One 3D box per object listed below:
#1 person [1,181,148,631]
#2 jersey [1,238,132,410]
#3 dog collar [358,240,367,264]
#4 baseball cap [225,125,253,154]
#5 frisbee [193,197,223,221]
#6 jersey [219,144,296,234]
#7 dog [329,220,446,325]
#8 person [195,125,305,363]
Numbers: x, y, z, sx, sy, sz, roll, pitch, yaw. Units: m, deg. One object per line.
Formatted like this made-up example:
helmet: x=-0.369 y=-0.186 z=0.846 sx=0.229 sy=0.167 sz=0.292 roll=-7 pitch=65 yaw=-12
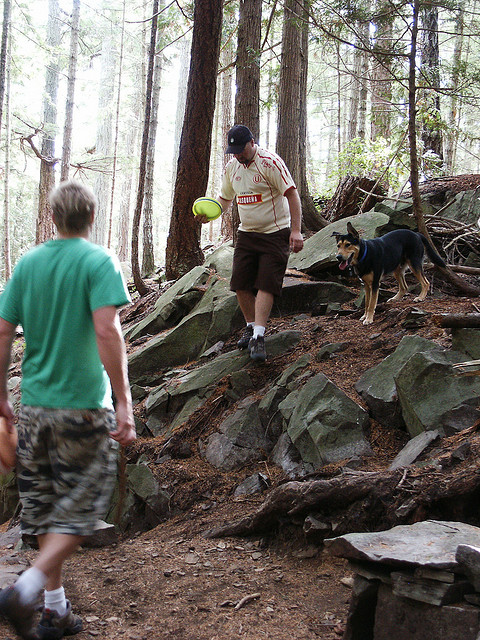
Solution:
person: x=-0.878 y=0.312 z=2.900 sx=0.576 sy=2.047 sz=0.554 roll=2 pitch=0 yaw=44
jersey: x=-0.835 y=0.019 z=2.936 sx=0.623 sy=0.807 sz=0.284 roll=2 pitch=0 yaw=-4
dog collar: x=1.065 y=-0.577 z=5.329 sx=0.071 sy=0.185 sz=0.047 roll=2 pitch=0 yaw=-27
baseball cap: x=-0.018 y=-1.462 z=5.034 sx=0.181 sy=0.253 sz=0.150 roll=8 pitch=-36 yaw=30
frisbee: x=-0.293 y=-1.002 z=5.652 sx=0.279 sy=0.217 sz=0.240 roll=2 pitch=0 yaw=8
jersey: x=0.171 y=-1.104 z=5.353 sx=0.843 sy=0.711 sz=0.428 roll=8 pitch=23 yaw=44
dog: x=1.320 y=-0.393 z=5.521 sx=1.001 sy=0.889 sz=0.415 roll=2 pitch=0 yaw=-33
person: x=0.156 y=-0.596 z=5.298 sx=0.662 sy=1.962 sz=0.714 roll=2 pitch=0 yaw=-2
